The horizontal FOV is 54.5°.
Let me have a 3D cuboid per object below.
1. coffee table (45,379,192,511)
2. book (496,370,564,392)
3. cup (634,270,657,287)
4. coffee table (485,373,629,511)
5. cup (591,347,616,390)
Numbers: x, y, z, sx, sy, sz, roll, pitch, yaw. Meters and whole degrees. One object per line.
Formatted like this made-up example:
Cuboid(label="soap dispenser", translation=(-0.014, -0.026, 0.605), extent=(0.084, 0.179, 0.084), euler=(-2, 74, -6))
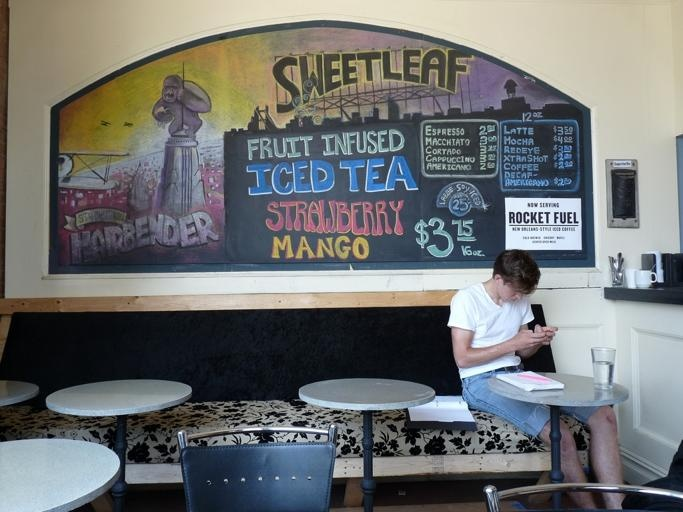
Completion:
Cuboid(label="coffee table", translation=(-1.299, 0.957, 3.871), extent=(0.730, 0.802, 0.723), euler=(2, -1, -19))
Cuboid(label="book", translation=(1.043, 0.695, 3.689), extent=(0.297, 0.040, 0.338), euler=(-3, 1, -19))
Cuboid(label="cup", translation=(2.135, 0.159, 4.662), extent=(0.137, 0.098, 0.086), euler=(-1, -3, 27))
Cuboid(label="coffee table", translation=(1.210, 0.925, 3.783), extent=(0.745, 0.785, 0.732), euler=(-1, 0, -23))
Cuboid(label="cup", translation=(1.431, 0.604, 3.629), extent=(0.113, 0.223, 0.172), euler=(-2, 1, 20))
